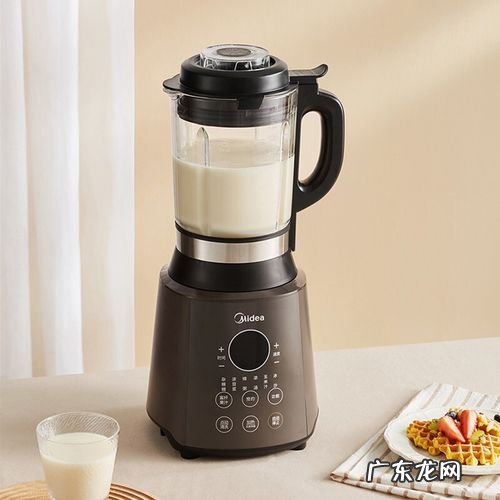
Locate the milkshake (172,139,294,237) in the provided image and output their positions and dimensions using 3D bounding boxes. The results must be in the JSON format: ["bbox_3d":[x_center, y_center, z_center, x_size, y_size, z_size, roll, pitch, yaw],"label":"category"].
[{"bbox_3d":[-0.022,-0.072,0.595,0.146,0.074,0.105,-5,13,-24],"label":"milkshake"}]
